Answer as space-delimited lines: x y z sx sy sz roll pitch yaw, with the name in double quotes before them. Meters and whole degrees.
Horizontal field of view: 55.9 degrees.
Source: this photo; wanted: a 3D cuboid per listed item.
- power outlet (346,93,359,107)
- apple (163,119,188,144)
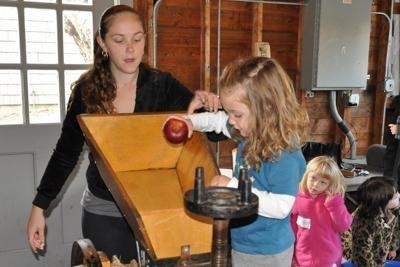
"power outlet" 1.732 -0.391 4.275 0.119 0.174 0.144 0 4 1
"apple" -0.126 -0.015 1.958 0.115 0.123 0.116 1 10 3
